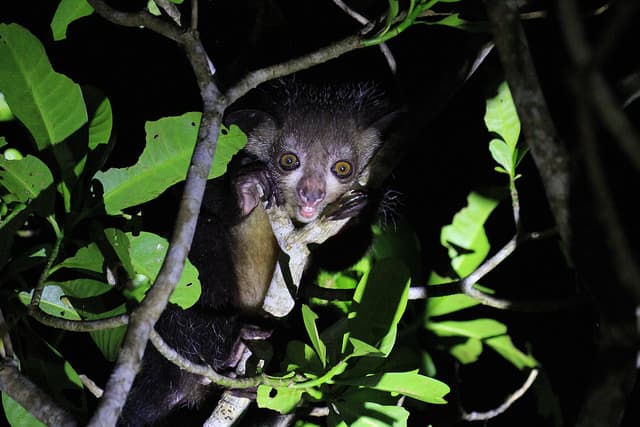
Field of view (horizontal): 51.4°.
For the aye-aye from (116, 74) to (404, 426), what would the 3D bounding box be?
[{"bbox_3d":[-0.162,0.081,2.794,0.784,1.437,0.774,20,-7,-9],"label":"aye-aye"}]
